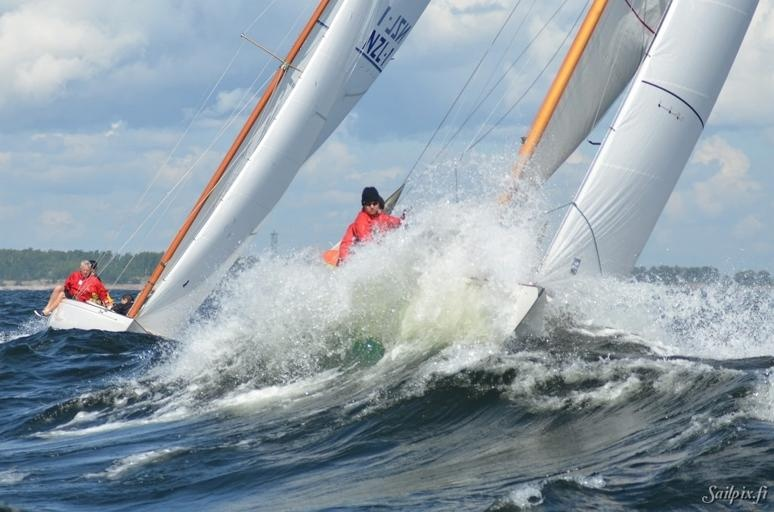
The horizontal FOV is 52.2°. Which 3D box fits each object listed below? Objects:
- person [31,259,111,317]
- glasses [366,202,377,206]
[{"bbox_3d":[-7.146,0.663,18.146,1.613,1.295,1.141,4,24,-33],"label":"person"},{"bbox_3d":[-0.283,-0.927,14.186,0.084,0.040,0.098,-9,-5,-39],"label":"glasses"}]
